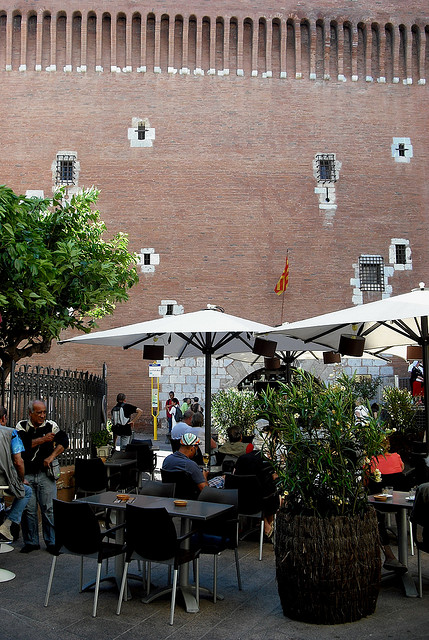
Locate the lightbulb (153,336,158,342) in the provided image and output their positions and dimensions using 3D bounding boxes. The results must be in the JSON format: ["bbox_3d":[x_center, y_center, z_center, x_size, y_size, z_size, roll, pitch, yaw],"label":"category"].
[{"bbox_3d":[-0.914,0.306,10.246,0.057,0.070,0.025,-6,-9,21],"label":"lightbulb"}]

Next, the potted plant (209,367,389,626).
[{"bbox_3d":[1.159,1.577,6.236,1.705,2.462,1.692,9,-15,-42],"label":"potted plant"}]

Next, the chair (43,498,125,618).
[{"bbox_3d":[-1.147,1.942,5.495,0.609,0.963,0.382,-4,1,29],"label":"chair"}]

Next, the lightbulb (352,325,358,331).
[{"bbox_3d":[1.793,0.108,8.414,0.064,0.081,0.063,3,-7,-22],"label":"lightbulb"}]
